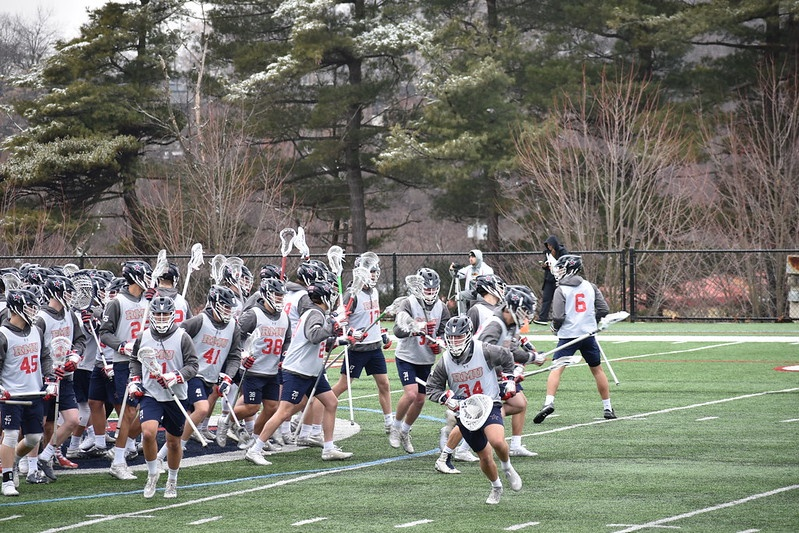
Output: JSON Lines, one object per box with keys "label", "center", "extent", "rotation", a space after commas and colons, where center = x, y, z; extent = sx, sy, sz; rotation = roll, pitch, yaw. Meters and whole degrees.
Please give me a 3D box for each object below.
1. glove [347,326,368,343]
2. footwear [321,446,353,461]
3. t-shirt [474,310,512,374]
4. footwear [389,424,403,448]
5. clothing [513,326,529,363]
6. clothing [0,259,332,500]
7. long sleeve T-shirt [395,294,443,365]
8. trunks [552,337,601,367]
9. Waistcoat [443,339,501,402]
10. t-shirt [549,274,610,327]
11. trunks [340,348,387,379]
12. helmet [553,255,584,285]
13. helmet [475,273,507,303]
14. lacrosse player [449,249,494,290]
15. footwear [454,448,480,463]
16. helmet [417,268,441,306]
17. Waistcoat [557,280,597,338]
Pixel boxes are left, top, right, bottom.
{"label": "glove", "center": [-0.902, 1.451, 25.050], "extent": [0.289, 0.166, 0.299], "rotation": [13, -13, 10]}
{"label": "footwear", "center": [-1.337, 3.895, 24.383], "extent": [0.729, 0.327, 0.246], "rotation": [1, 4, -4]}
{"label": "t-shirt", "center": [1.803, 1.513, 22.799], "extent": [0.562, 0.984, 1.008], "rotation": [-12, -9, 19]}
{"label": "footwear", "center": [-0.120, 3.611, 24.754], "extent": [0.175, 0.529, 0.224], "rotation": [0, -25, -28]}
{"label": "clothing", "center": [2.405, 1.606, 23.745], "extent": [0.237, 0.577, 0.571], "rotation": [-22, -5, 14]}
{"label": "clothing", "center": [-4.959, 2.098, 24.120], "extent": [4.400, 3.875, 3.612], "rotation": [7, 15, 23]}
{"label": "long sleeve T-shirt", "center": [0.427, 1.359, 25.104], "extent": [1.250, 1.522, 0.763], "rotation": [0, 19, -15]}
{"label": "trunks", "center": [3.855, 1.897, 25.915], "extent": [1.092, 1.011, 0.403], "rotation": [3, 0, -5]}
{"label": "Waistcoat", "center": [1.331, 2.069, 22.573], "extent": [0.994, 1.411, 0.817], "rotation": [-7, 16, 23]}
{"label": "t-shirt", "center": [3.906, 0.760, 26.088], "extent": [1.243, 1.258, 0.638], "rotation": [-17, 24, -10]}
{"label": "trunks", "center": [-0.809, 2.105, 25.634], "extent": [0.859, 0.811, 0.399], "rotation": [2, -9, -15]}
{"label": "helmet", "center": [3.702, 0.018, 26.099], "extent": [0.633, 0.621, 0.522], "rotation": [1, 4, 5]}
{"label": "helmet", "center": [1.829, 0.402, 23.908], "extent": [0.564, 0.533, 0.479], "rotation": [-3, -3, 0]}
{"label": "lacrosse player", "center": [1.924, 0.091, 33.060], "extent": [1.011, 1.421, 0.943], "rotation": [-14, -27, 43]}
{"label": "footwear", "center": [1.343, 3.898, 24.188], "extent": [0.547, 0.369, 0.205], "rotation": [1, -2, 8]}
{"label": "helmet", "center": [0.474, 0.305, 24.657], "extent": [0.396, 0.471, 0.494], "rotation": [11, 2, -29]}
{"label": "Waistcoat", "center": [3.823, 0.964, 25.809], "extent": [1.133, 1.425, 0.814], "rotation": [-1, 4, 0]}
